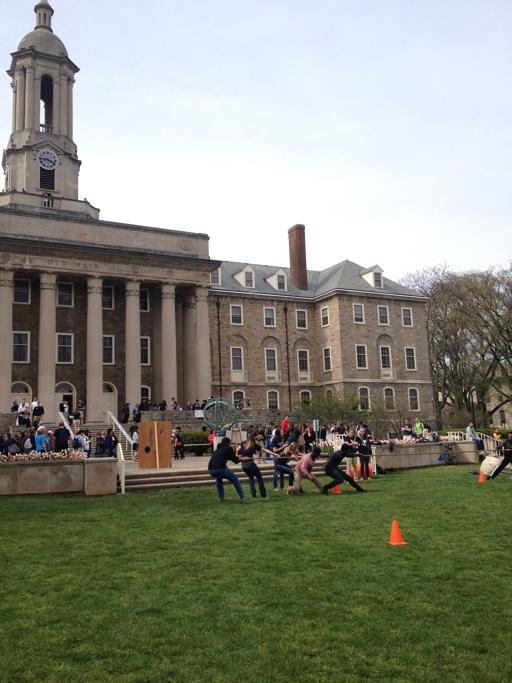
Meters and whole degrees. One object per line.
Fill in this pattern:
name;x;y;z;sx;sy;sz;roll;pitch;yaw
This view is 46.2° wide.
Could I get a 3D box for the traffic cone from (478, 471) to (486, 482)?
traffic cone;7.141;4.257;18.881;0.218;0.296;0.217;-8;1;-21
